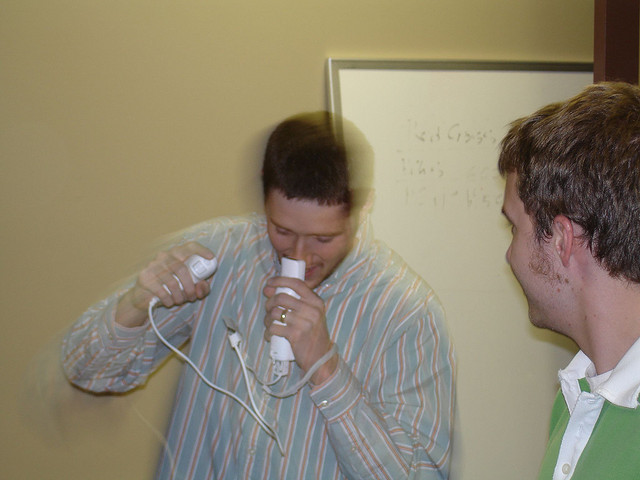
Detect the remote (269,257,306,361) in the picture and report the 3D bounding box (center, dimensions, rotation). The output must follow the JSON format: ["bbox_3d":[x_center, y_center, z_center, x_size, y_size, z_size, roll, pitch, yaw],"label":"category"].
[{"bbox_3d":[-0.065,0.132,1.082,0.068,0.196,0.045,-1,1,-4],"label":"remote"}]

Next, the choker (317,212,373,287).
[{"bbox_3d":[0.057,0.015,1.205,0.071,0.183,0.087,-3,19,-16],"label":"choker"}]

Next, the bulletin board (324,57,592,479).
[{"bbox_3d":[0.326,0.071,1.238,0.667,0.969,0.085,-1,1,-23],"label":"bulletin board"}]

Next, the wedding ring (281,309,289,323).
[{"bbox_3d":[-0.067,0.145,1.062,0.004,0.020,0.018,8,6,9],"label":"wedding ring"}]

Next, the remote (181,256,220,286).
[{"bbox_3d":[-0.235,0.060,1.098,0.062,0.057,0.034,-1,1,-44],"label":"remote"}]
